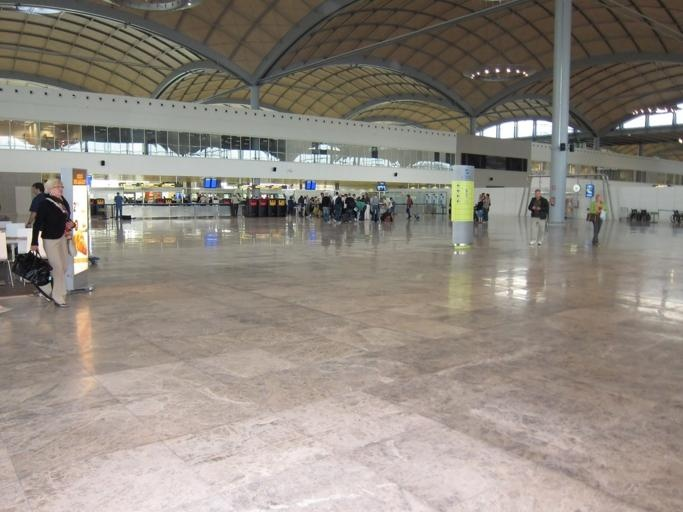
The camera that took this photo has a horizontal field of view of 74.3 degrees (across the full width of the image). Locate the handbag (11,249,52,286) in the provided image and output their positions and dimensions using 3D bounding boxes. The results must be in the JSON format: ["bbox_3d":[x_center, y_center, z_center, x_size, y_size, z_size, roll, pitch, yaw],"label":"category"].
[{"bbox_3d":[-5.055,0.201,7.347,0.554,0.468,0.261,23,1,-36],"label":"handbag"}]

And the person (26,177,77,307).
[{"bbox_3d":[-4.680,-0.250,7.292,0.588,1.979,1.323,-5,7,-33],"label":"person"}]

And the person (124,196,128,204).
[{"bbox_3d":[-18.465,-4.693,38.501,0.381,0.549,1.338,-4,6,-26],"label":"person"}]

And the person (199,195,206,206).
[{"bbox_3d":[-12.600,-5.073,40.810,0.646,1.029,2.216,-3,6,-16],"label":"person"}]

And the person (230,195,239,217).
[{"bbox_3d":[-9.811,-4.567,41.143,0.745,1.957,1.530,-2,6,-14],"label":"person"}]
